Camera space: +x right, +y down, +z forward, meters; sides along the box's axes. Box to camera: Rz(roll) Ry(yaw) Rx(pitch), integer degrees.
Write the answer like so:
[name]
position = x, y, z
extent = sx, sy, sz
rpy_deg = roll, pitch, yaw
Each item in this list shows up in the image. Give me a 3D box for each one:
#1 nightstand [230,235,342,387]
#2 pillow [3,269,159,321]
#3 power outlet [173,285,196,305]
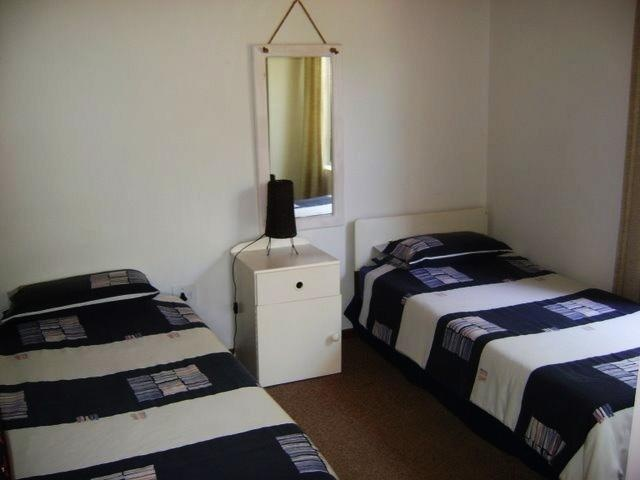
[nightstand]
position = -0.192, 0.356, 3.299
extent = 0.793, 1.175, 0.745
rpy_deg = -5, 11, -22
[pillow]
position = -1.390, 0.299, 2.780
extent = 0.533, 0.080, 0.349
rpy_deg = -7, 22, -22
[power outlet]
position = -0.894, 0.353, 3.139
extent = 0.120, 0.111, 0.013
rpy_deg = -2, 5, -24
